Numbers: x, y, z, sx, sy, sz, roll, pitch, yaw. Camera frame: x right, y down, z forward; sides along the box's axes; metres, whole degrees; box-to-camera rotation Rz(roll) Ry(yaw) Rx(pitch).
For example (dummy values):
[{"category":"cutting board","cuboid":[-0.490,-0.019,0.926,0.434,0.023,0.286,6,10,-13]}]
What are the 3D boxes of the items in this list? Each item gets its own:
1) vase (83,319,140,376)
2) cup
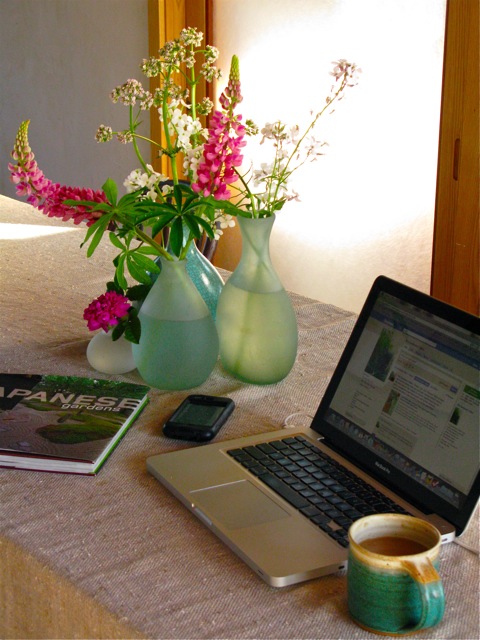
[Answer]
[{"category":"vase","cuboid":[-0.230,0.040,0.922,0.095,0.119,0.086,-4,12,-22]},{"category":"cup","cuboid":[0.101,0.183,0.396,0.063,0.062,0.095,-2,12,-8]}]
